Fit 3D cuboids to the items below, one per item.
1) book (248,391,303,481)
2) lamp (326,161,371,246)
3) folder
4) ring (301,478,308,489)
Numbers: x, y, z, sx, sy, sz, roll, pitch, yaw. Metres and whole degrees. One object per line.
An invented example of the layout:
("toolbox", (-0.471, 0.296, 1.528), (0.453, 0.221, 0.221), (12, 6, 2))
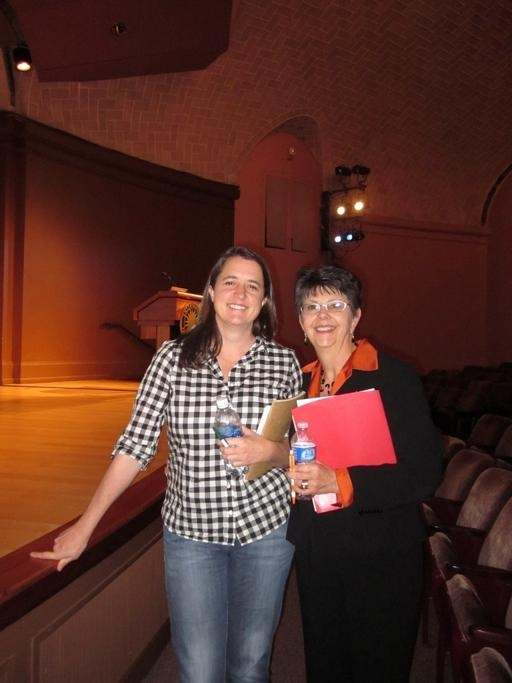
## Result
("book", (0.043, 0.241, 1.333), (0.028, 0.265, 0.238), (27, 5, 26))
("lamp", (2.280, -3.289, 12.807), (1.071, 1.887, 0.808), (-13, 15, -31))
("folder", (0.201, 0.224, 1.287), (0.223, 0.220, 0.066), (-10, 10, -3))
("ring", (0.115, 0.346, 1.260), (0.014, 0.019, 0.008), (-1, -8, 6))
